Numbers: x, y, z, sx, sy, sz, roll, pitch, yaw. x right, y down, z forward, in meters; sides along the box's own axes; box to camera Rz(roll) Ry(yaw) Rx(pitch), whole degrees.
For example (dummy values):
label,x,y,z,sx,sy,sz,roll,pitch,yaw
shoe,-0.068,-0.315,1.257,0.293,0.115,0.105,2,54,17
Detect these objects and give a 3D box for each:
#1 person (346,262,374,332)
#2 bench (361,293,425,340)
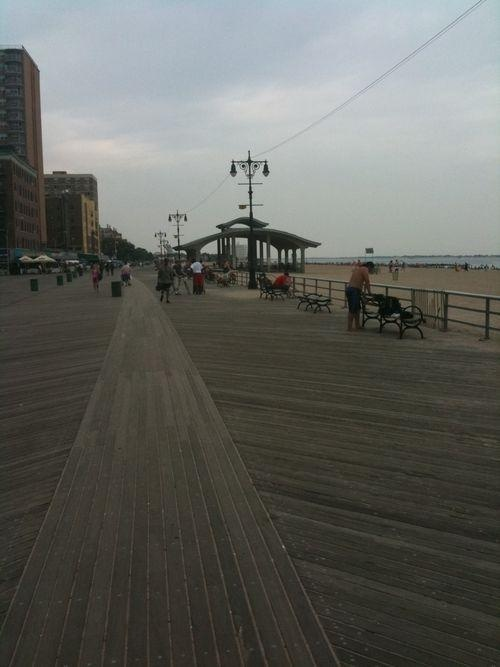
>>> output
label,x,y,z,sx,sy,sz,roll,pitch,yaw
person,2.933,-1.059,14.655,0.656,1.685,3.779,1,6,11
bench,3.440,-0.493,13.807,0.640,0.942,1.976,-12,-7,17
